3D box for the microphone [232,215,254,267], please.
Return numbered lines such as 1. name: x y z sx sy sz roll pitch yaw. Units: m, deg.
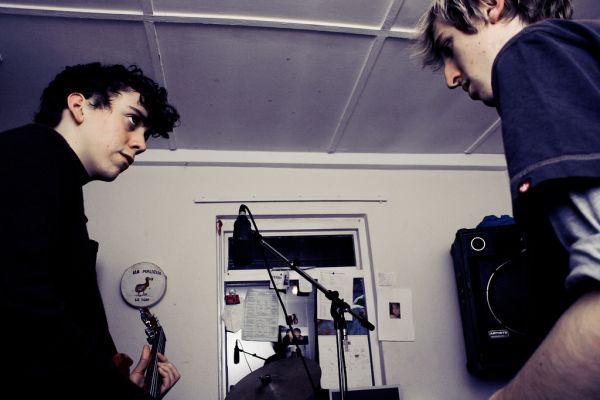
1. microphone: -0.293 0.202 2.668 0.106 0.275 0.147 -1 -11 -5
